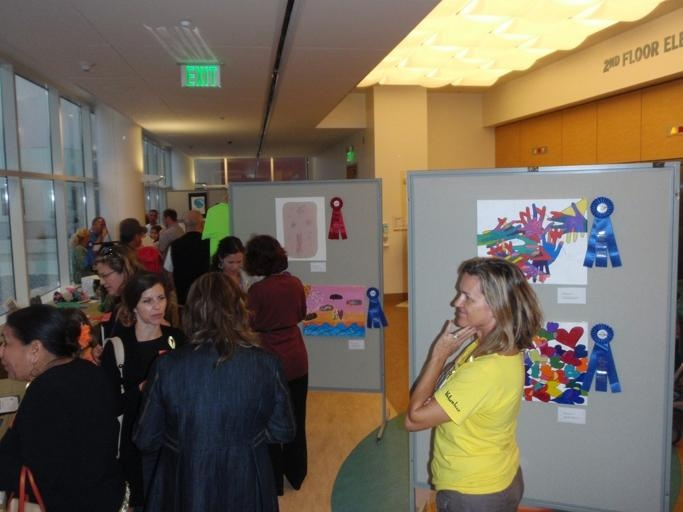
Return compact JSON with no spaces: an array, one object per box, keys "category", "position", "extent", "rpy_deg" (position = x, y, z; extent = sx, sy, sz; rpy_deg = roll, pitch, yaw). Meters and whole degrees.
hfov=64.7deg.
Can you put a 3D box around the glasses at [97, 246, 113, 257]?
[{"category":"glasses","position":[-1.911,-0.041,4.375],"extent":[0.068,0.091,0.081],"rpy_deg":[-13,44,-33]}]

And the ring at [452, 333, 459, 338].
[{"category":"ring","position":[0.577,0.403,2.736],"extent":[0.023,0.023,0.006],"rpy_deg":[-3,-7,6]}]

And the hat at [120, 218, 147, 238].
[{"category":"hat","position":[-2.333,-0.289,6.043],"extent":[0.205,0.165,0.307],"rpy_deg":[1,19,10]}]

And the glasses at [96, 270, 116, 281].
[{"category":"glasses","position":[-1.699,0.139,3.910],"extent":[0.065,0.073,0.022],"rpy_deg":[-2,17,2]}]
